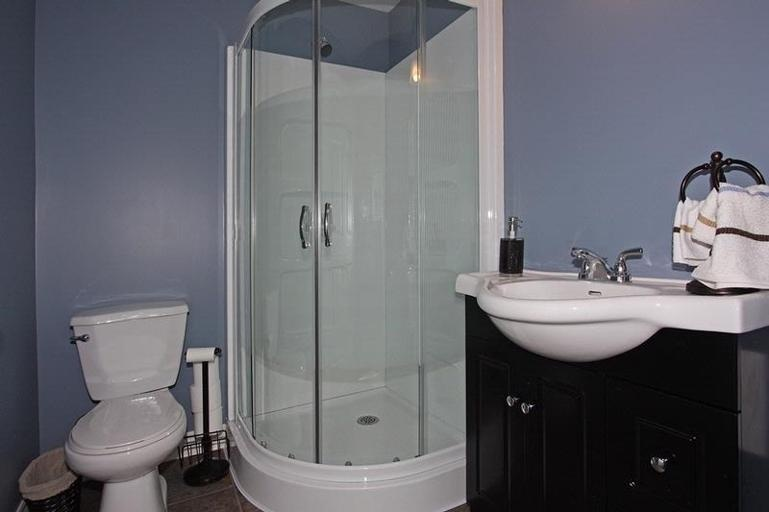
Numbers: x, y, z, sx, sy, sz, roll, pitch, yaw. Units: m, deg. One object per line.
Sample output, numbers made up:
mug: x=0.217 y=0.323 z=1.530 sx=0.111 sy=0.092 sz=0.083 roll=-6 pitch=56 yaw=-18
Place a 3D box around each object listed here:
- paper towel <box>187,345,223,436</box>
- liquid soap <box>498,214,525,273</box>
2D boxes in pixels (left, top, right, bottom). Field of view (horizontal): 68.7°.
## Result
paper towel: x=-1.050 y=0.780 z=3.313 sx=0.186 sy=0.511 sz=0.218 roll=-5 pitch=7 yaw=-19
liquid soap: x=0.630 y=-0.050 z=2.794 sx=0.117 sy=0.284 sz=0.141 roll=-1 pitch=7 yaw=12
